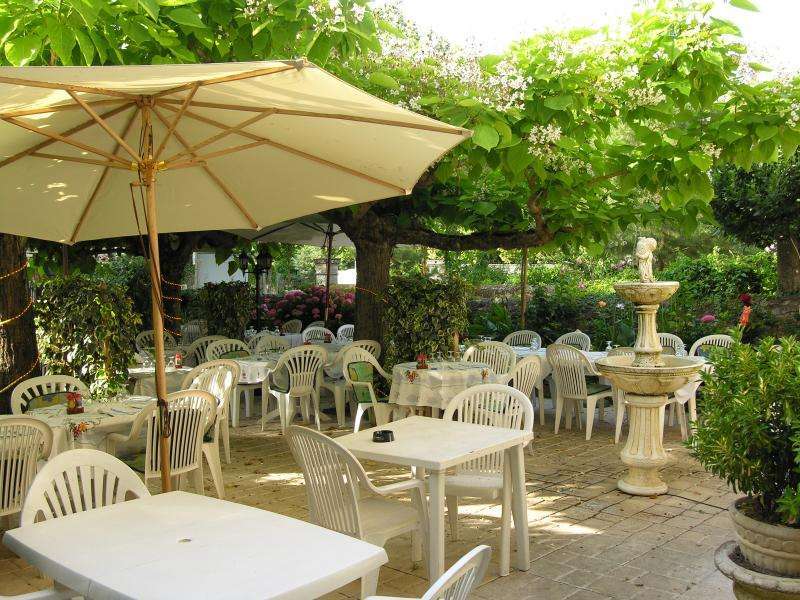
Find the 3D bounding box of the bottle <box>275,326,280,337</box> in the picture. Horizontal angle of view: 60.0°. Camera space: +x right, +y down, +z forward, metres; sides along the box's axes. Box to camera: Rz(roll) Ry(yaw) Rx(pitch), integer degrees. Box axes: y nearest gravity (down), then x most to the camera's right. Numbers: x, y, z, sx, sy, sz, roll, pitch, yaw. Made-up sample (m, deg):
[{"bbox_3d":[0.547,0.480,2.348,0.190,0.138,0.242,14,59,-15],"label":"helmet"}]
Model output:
[{"bbox_3d":[-2.347,0.594,13.277,0.139,0.233,0.133,0,-5,0],"label":"bottle"}]
